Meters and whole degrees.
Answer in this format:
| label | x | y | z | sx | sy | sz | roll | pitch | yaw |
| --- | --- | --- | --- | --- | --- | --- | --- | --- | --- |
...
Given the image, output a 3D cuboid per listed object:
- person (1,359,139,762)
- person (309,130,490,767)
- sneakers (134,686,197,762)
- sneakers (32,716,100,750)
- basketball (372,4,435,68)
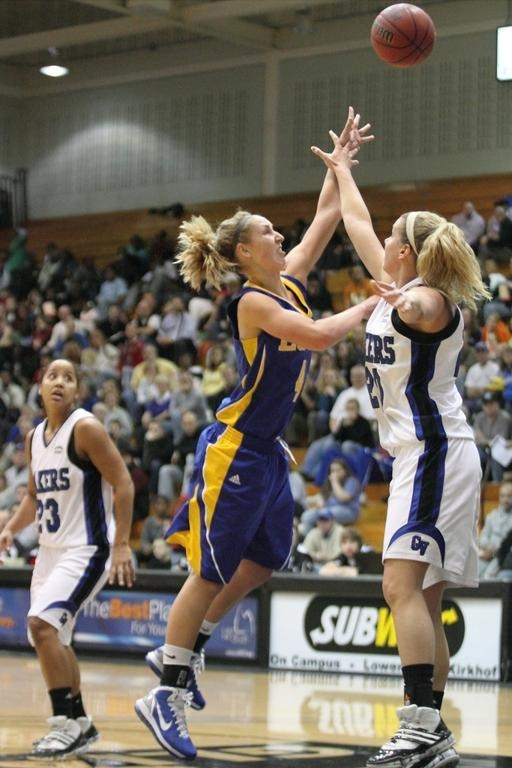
| label | x | y | z | sx | sy | sz | roll | pitch | yaw |
| --- | --- | --- | --- | --- | --- | --- | --- | --- | --- |
| person | -0.751 | 0.638 | 3.967 | 0.513 | 1.483 | 0.796 | 0 | 1 | -15 |
| person | 0.573 | 0.319 | 3.516 | 0.471 | 1.900 | 0.917 | 0 | 1 | 5 |
| sneakers | -0.322 | 1.204 | 3.537 | 0.188 | 0.240 | 0.220 | 0 | 1 | -14 |
| sneakers | -0.731 | 1.300 | 3.752 | 0.106 | 0.137 | 0.319 | -10 | -13 | 31 |
| basketball | 0.674 | -1.611 | 4.562 | 0.279 | 0.332 | 0.253 | 0 | 1 | -7 |
